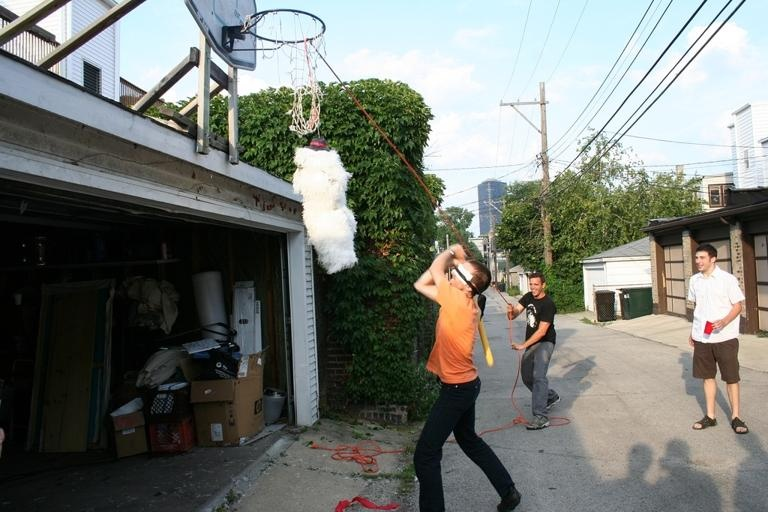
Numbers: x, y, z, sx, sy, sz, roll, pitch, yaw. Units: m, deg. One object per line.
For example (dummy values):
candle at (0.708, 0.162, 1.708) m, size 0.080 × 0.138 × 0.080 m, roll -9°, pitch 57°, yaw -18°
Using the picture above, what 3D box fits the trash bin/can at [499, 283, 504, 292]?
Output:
trash bin/can at (12.489, 3.258, 58.842) m, size 0.652 × 0.730 × 0.756 m, roll -2°, pitch -4°, yaw 6°

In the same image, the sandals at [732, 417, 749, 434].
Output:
sandals at (5.222, 2.446, 8.231) m, size 0.215 × 0.236 × 0.270 m, roll -5°, pitch -4°, yaw 26°

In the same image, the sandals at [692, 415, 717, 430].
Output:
sandals at (4.812, 2.482, 8.497) m, size 0.428 × 0.194 × 0.160 m, roll -2°, pitch -3°, yaw -16°

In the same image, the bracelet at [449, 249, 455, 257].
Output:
bracelet at (0.780, -0.033, 6.399) m, size 0.075 × 0.074 × 0.018 m, roll -2°, pitch 7°, yaw -9°

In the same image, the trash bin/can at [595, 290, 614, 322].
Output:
trash bin/can at (8.359, 1.872, 21.179) m, size 0.686 × 1.107 × 0.630 m, roll -4°, pitch -4°, yaw 16°

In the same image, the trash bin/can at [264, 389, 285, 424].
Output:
trash bin/can at (-1.912, 2.575, 9.663) m, size 0.400 × 0.468 × 0.462 m, roll 5°, pitch -2°, yaw 29°

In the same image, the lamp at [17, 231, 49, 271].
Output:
lamp at (-5.941, -0.118, 9.565) m, size 0.430 × 0.509 × 0.168 m, roll -3°, pitch -3°, yaw -4°

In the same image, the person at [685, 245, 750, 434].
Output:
person at (4.950, 1.210, 8.371) m, size 0.756 × 2.736 × 0.367 m, roll -5°, pitch -4°, yaw 32°

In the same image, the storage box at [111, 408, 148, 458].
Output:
storage box at (-3.826, 2.689, 8.655) m, size 0.573 × 0.619 × 0.572 m, roll -12°, pitch -4°, yaw 16°

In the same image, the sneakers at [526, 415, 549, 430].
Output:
sneakers at (2.537, 2.675, 9.104) m, size 0.429 × 0.206 × 0.169 m, roll 0°, pitch -5°, yaw -14°

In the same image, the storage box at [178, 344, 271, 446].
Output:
storage box at (-2.472, 2.282, 9.145) m, size 0.845 × 1.290 × 1.349 m, roll -5°, pitch -8°, yaw 4°

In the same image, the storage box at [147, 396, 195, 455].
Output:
storage box at (-3.335, 2.568, 8.627) m, size 0.527 × 0.789 × 0.488 m, roll 0°, pitch -4°, yaw -36°
